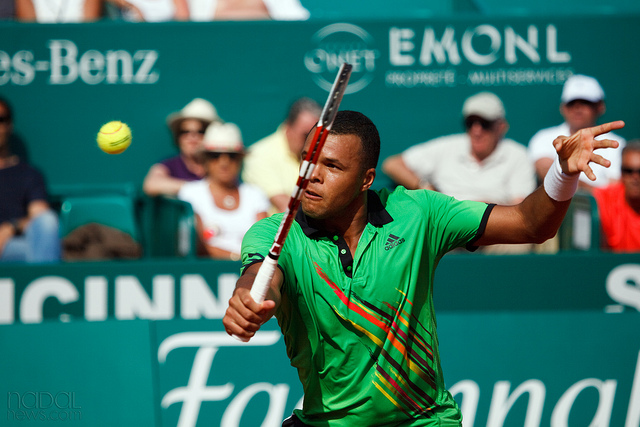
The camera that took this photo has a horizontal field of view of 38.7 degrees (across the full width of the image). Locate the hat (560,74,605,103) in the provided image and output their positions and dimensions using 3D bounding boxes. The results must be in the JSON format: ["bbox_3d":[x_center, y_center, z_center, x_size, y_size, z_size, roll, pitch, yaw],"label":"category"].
[{"bbox_3d":[3.255,-1.566,11.384,0.472,0.281,0.504,-2,0,13],"label":"hat"}]

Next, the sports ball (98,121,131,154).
[{"bbox_3d":[-2.160,-0.802,9.560,0.319,0.326,0.282,-2,0,-15],"label":"sports ball"}]

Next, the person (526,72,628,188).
[{"bbox_3d":[3.014,-0.981,10.826,1.297,0.774,1.885,-2,8,7],"label":"person"}]

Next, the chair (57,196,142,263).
[{"bbox_3d":[-2.306,0.149,9.521,0.822,0.675,0.777,-2,0,-15],"label":"chair"}]
